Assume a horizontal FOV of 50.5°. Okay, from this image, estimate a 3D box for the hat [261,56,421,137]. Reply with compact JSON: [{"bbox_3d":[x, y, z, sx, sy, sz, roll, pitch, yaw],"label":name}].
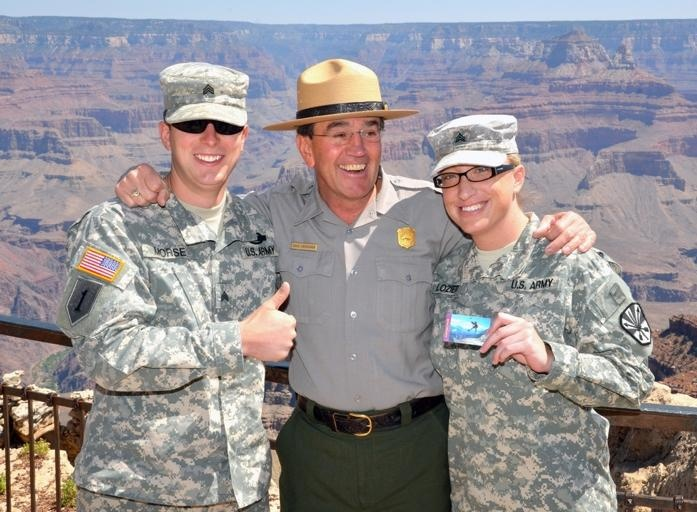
[{"bbox_3d":[-0.175,-1.034,4.984,0.655,0.251,0.718,-4,-2,-45],"label":"hat"}]
